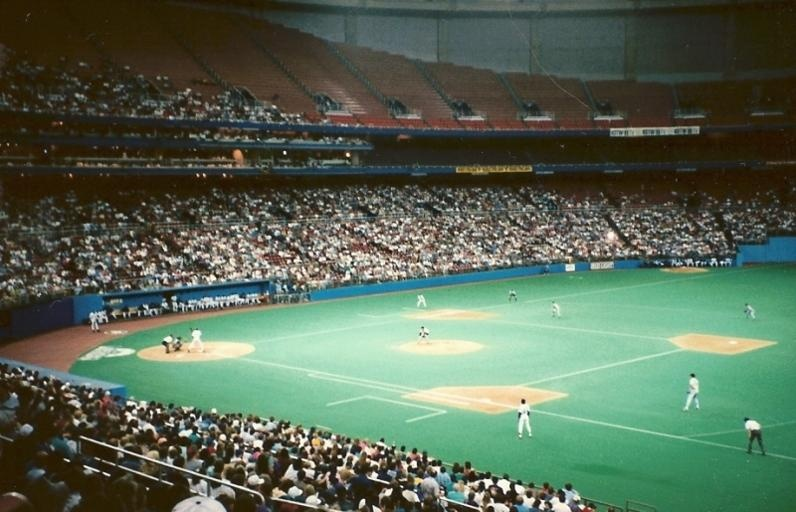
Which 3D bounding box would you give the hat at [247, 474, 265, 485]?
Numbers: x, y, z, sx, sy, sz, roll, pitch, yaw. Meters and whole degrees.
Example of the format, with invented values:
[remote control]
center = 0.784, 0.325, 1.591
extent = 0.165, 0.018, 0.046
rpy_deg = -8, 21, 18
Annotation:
[hat]
center = -6.008, 9.400, 29.918
extent = 0.866, 0.379, 0.445
rpy_deg = -2, -11, 37
